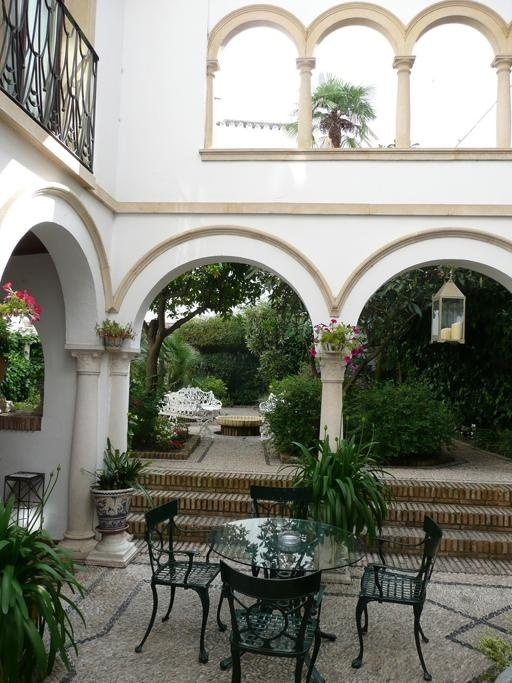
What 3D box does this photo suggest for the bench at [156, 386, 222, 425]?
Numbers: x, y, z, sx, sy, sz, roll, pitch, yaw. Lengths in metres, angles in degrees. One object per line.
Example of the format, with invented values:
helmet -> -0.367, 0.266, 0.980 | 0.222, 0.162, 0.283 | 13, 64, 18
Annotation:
bench -> -1.536, 1.459, 12.716 | 0.840, 0.810, 1.677 | -3, -6, 40

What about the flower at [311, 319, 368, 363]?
flower -> 0.812, -0.025, 5.537 | 0.396, 0.370, 0.488 | 0, 1, 10

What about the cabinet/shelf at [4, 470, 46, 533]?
cabinet/shelf -> -2.403, 1.654, 5.678 | 0.394, 0.609, 0.708 | 3, -5, -24

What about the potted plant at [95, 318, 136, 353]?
potted plant -> -1.437, -0.064, 5.595 | 0.281, 0.311, 0.276 | 0, 2, -12

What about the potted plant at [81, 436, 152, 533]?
potted plant -> -1.425, 1.419, 5.460 | 0.560, 0.864, 0.541 | 3, -5, -18
